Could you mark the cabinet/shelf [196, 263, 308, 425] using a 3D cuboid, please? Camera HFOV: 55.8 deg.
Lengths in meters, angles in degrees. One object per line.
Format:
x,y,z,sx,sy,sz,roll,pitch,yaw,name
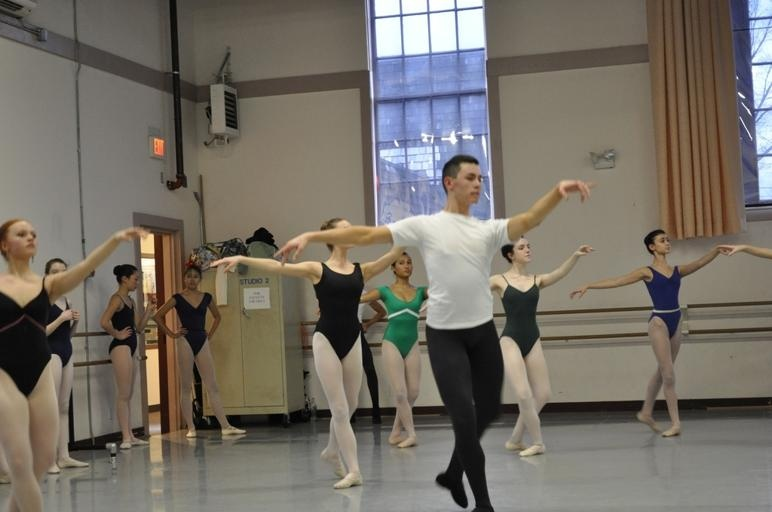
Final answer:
-2.182,1.434,10.230,1.449,2.263,1.500,15,-35,-39,cabinet/shelf
